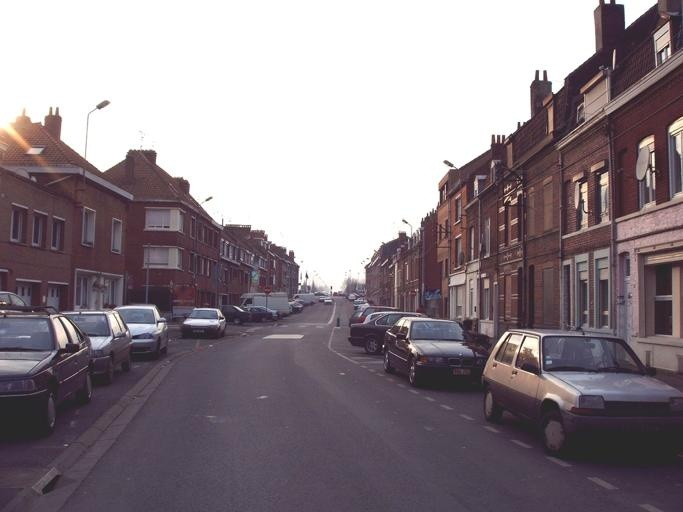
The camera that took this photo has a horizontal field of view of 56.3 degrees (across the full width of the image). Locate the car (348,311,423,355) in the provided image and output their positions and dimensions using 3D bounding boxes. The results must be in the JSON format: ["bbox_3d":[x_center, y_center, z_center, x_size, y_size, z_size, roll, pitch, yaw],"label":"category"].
[{"bbox_3d":[1.317,3.047,25.293,2.882,1.246,1.391,-1,-1,3],"label":"car"}]

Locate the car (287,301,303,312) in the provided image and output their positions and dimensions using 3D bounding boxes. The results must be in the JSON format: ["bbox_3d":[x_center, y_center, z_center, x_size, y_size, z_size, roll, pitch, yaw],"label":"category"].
[{"bbox_3d":[-6.081,6.370,81.488,2.052,1.243,3.596,0,-3,-6],"label":"car"}]

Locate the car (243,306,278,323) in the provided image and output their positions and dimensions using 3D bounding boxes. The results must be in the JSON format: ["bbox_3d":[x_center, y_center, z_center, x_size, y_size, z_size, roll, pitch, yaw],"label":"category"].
[{"bbox_3d":[-7.518,5.194,56.937,2.260,0.796,1.043,3,2,40],"label":"car"}]

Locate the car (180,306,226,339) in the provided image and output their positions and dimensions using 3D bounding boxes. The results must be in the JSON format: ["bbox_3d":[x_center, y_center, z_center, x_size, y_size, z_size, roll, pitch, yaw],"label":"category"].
[{"bbox_3d":[-7.108,3.368,32.821,1.679,1.628,2.546,-2,-9,0],"label":"car"}]

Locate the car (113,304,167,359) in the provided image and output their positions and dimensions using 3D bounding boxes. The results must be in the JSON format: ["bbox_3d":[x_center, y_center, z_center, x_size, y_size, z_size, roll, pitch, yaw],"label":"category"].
[{"bbox_3d":[-6.656,2.491,21.571,1.093,1.084,2.672,0,-7,-4],"label":"car"}]

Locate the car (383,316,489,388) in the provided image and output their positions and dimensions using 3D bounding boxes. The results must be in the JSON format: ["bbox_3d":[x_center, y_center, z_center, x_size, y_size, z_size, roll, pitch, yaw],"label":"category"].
[{"bbox_3d":[2.344,2.504,16.428,1.303,1.171,3.207,1,-7,-7],"label":"car"}]

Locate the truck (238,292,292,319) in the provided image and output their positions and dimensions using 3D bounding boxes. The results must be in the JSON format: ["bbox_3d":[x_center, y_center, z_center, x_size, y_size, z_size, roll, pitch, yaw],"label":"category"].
[{"bbox_3d":[-7.696,4.820,64.473,3.821,2.440,2.577,2,-3,-10],"label":"truck"}]

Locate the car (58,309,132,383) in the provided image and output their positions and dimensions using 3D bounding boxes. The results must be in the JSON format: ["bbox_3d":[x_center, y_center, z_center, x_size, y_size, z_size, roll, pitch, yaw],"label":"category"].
[{"bbox_3d":[-6.094,2.162,16.010,1.345,1.210,2.269,-1,-7,-2],"label":"car"}]
